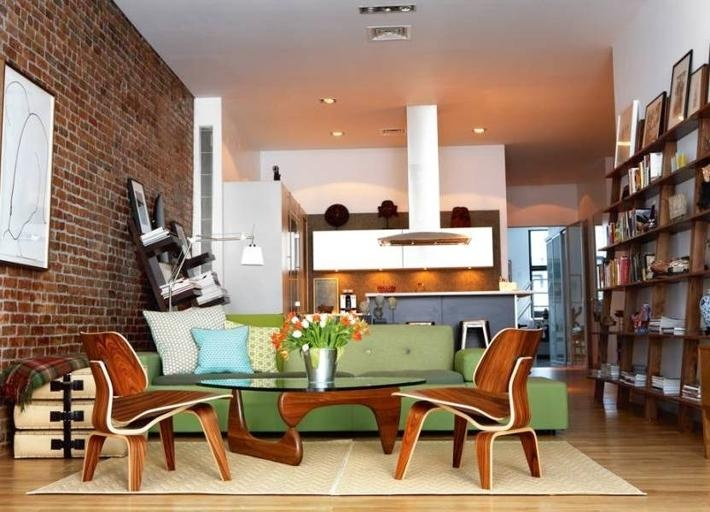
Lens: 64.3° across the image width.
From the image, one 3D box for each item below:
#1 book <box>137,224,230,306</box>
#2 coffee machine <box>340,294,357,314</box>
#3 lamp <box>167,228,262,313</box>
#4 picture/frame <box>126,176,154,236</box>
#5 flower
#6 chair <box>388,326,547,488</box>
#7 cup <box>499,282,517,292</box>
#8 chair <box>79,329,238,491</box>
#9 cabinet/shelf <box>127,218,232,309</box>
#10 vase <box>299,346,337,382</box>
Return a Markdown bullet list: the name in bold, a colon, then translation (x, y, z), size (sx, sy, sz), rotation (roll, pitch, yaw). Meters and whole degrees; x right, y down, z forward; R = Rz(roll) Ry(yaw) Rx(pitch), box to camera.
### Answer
- **book**: translation (-1.982, 0.103, 6.464), size (0.416, 1.353, 0.987), rotation (-18, -3, 5)
- **coffee machine**: translation (-0.112, 0.771, 9.218), size (0.296, 0.311, 0.226), rotation (-1, -2, 7)
- **lamp**: translation (-1.645, 0.294, 6.718), size (1.099, 1.258, 0.967), rotation (-3, 5, 0)
- **picture/frame**: translation (-2.272, -0.505, 6.011), size (0.054, 0.557, 0.463), rotation (-11, 3, -6)
- **flower**: translation (-0.166, 0.507, 3.968), size (0.481, 0.258, 0.504), rotation (13, 2, -21)
- **chair**: translation (0.727, 0.930, 3.518), size (0.771, 0.917, 0.647), rotation (-7, -13, 42)
- **cup**: translation (2.171, 0.439, 7.968), size (0.192, 0.125, 0.196), rotation (1, -7, 0)
- **chair**: translation (-1.230, 0.934, 3.534), size (0.588, 0.937, 0.798), rotation (-6, -6, 43)
- **cabinet/shelf**: translation (-2.026, 0.081, 6.441), size (0.471, 1.519, 1.120), rotation (-21, -2, 3)
- **vase**: translation (-0.225, 0.732, 3.787), size (0.215, 0.176, 0.226), rotation (2, -10, -11)
